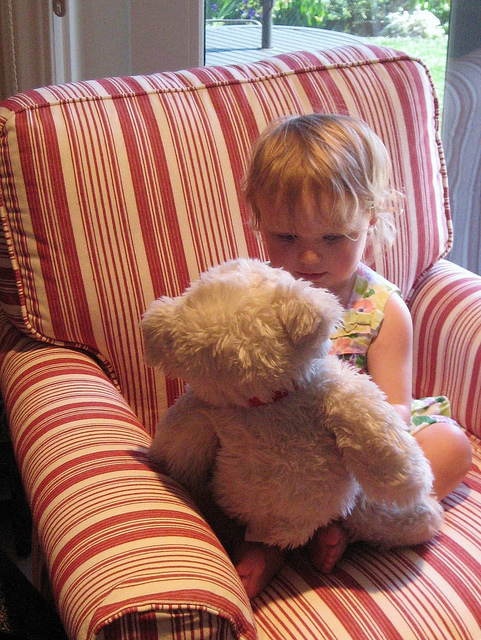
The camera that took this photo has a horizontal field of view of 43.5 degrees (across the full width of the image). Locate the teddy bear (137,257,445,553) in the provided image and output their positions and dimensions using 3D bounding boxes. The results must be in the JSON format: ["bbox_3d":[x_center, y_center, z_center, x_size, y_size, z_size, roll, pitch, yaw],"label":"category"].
[{"bbox_3d":[0.052,0.097,0.616,0.294,0.268,0.225,-5,-8,28],"label":"teddy bear"}]
